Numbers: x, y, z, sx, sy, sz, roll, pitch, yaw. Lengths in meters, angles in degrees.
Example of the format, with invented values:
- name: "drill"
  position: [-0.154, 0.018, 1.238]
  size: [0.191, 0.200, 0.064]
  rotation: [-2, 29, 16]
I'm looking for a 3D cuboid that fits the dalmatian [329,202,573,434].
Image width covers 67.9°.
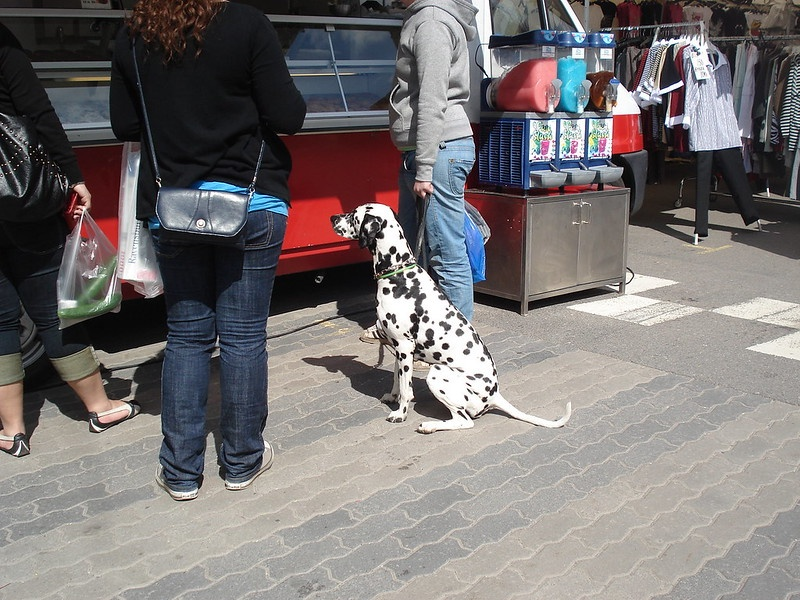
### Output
- name: "dalmatian"
  position: [0.310, 0.117, 3.574]
  size: [1.533, 1.272, 0.586]
  rotation: [9, 18, 19]

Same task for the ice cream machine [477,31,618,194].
- name: "ice cream machine"
  position: [1.396, -1.709, 5.414]
  size: [1.176, 1.252, 0.950]
  rotation: [-11, 21, -26]

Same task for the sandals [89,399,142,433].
- name: "sandals"
  position: [-1.708, 0.691, 3.646]
  size: [0.126, 0.130, 0.325]
  rotation: [25, 35, 31]

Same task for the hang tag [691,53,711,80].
- name: "hang tag"
  position: [3.779, -2.955, 7.490]
  size: [0.247, 0.332, 0.159]
  rotation: [0, 17, 2]

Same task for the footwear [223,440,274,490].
- name: "footwear"
  position: [-0.733, 0.866, 3.053]
  size: [0.114, 0.134, 0.333]
  rotation: [15, 39, 22]

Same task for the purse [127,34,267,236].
- name: "purse"
  position: [-0.857, -0.680, 2.536]
  size: [0.528, 0.822, 0.361]
  rotation: [-3, 18, -7]
